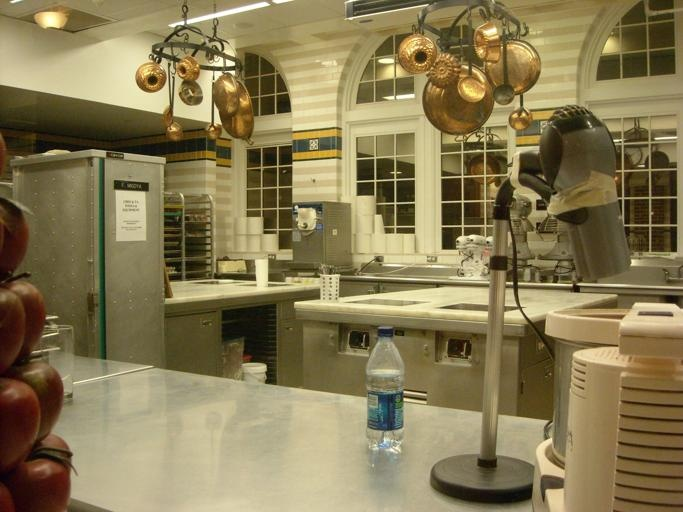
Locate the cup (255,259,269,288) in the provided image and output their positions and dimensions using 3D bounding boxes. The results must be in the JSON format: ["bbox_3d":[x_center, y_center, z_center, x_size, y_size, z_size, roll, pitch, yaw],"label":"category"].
[{"bbox_3d":[-0.693,0.145,4.770,0.103,0.232,0.312,-1,3,-11],"label":"cup"}]

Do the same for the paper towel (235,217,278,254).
[{"bbox_3d":[-1.107,-0.258,7.071,0.462,0.366,0.182,0,-1,25],"label":"paper towel"}]

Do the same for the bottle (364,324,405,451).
[{"bbox_3d":[0.097,0.282,1.232,0.087,0.256,0.188,0,3,5],"label":"bottle"}]

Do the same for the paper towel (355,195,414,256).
[{"bbox_3d":[0.503,-0.344,6.389,0.670,0.696,0.232,0,0,22],"label":"paper towel"}]

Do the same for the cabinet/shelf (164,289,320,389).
[{"bbox_3d":[-0.939,0.727,4.560,0.673,0.799,1.256,-9,-7,43],"label":"cabinet/shelf"}]
